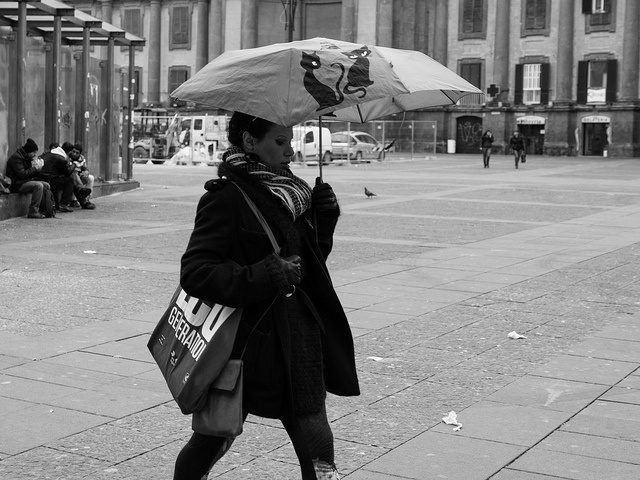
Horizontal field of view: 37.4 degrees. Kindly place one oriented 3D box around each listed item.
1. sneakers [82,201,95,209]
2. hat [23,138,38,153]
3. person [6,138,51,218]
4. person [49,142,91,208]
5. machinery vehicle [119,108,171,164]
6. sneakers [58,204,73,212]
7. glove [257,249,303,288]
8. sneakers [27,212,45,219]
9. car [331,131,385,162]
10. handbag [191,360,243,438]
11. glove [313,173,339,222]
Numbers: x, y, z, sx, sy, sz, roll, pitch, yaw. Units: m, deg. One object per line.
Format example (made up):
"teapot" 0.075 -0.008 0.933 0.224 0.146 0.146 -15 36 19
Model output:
"sneakers" -4.684 -0.712 19.230 0.103 0.123 0.306 6 8 42
"hat" -5.382 -1.764 17.607 0.225 0.241 0.303 -2 4 -33
"person" -5.371 -1.144 17.474 0.823 1.440 0.418 -2 5 -12
"person" -5.076 -1.259 18.394 0.672 1.266 0.767 17 15 30
"machinery vehicle" -8.443 -5.386 47.592 1.769 2.400 2.816 -19 4 -12
"sneakers" -4.963 -0.622 18.525 0.302 0.120 0.108 -1 11 -3
"glove" -0.186 0.150 4.822 0.185 0.076 0.183 36 35 -4
"sneakers" -5.228 -0.472 17.473 0.315 0.106 0.253 -3 6 -21
"car" 1.645 -4.450 45.179 1.255 0.818 2.596 5 9 33
"handbag" -0.515 0.779 4.773 0.342 0.351 0.108 -11 -25 39
"glove" 0.038 -0.235 5.243 0.099 0.224 0.133 -36 -17 12
